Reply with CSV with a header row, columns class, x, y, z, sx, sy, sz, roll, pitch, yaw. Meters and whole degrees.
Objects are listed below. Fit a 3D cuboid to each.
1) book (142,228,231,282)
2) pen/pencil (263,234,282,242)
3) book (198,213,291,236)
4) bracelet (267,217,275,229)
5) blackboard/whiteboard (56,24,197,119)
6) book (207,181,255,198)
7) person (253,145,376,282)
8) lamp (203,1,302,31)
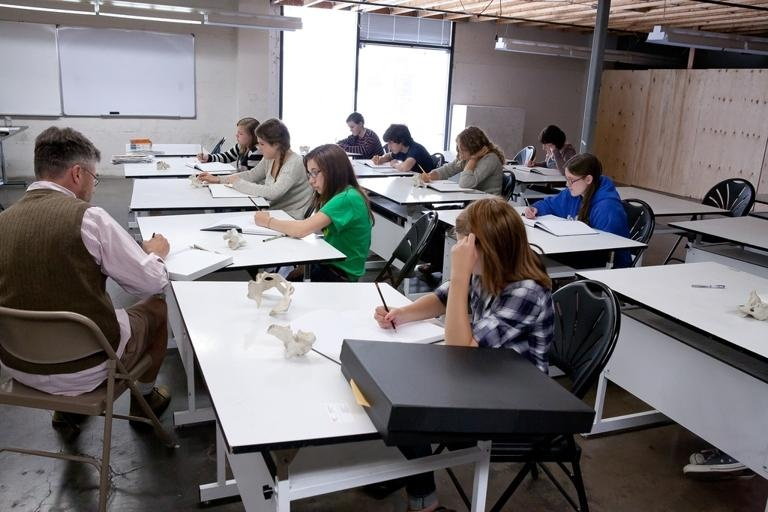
class,x,y,z,sx,sy,sz,roll,pitch,yaw
book,-1.016,0.018,2.710,0.294,0.038,0.364,-8,20,-42
pen/pencil,-0.693,-0.112,3.173,0.096,0.012,0.014,-25,42,-37
book,-0.908,-0.231,3.421,0.504,0.065,0.480,1,17,1
bracelet,-0.722,-0.212,3.298,0.048,0.063,0.058,2,50,2
blackboard/whiteboard,-4.419,-3.147,8.596,1.730,1.134,0.083,-5,15,-21
book,-1.362,-0.551,4.342,0.291,0.033,0.637,-11,21,-35
person,-0.424,-0.394,3.814,0.992,1.290,0.597,-1,17,-11
lamp,-1.828,-3.275,7.163,0.789,0.183,0.715,4,8,16
